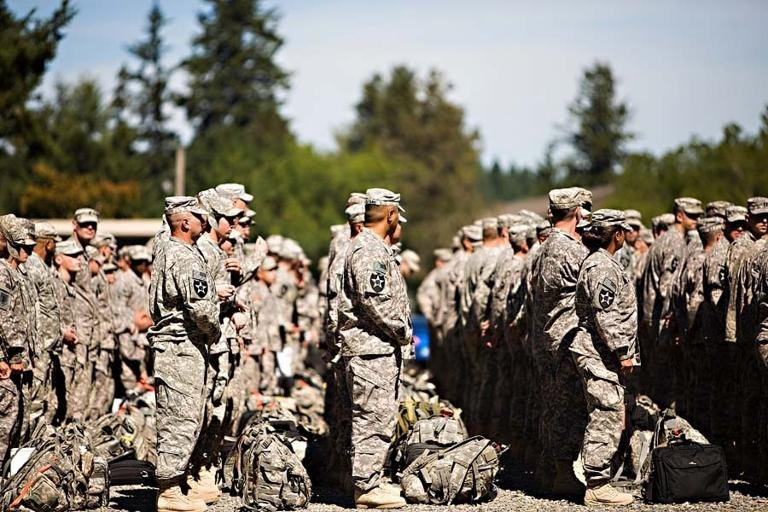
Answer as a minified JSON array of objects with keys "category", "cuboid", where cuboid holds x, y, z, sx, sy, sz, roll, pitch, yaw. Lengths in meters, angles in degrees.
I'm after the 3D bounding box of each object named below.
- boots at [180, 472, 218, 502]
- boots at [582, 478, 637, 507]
[{"category":"boots","cuboid":[-2.926,3.575,26.667,0.696,0.518,0.238,1,-2,-13]},{"category":"boots","cuboid":[3.338,3.575,26.037,0.742,0.379,0.321,-1,0,3]}]
